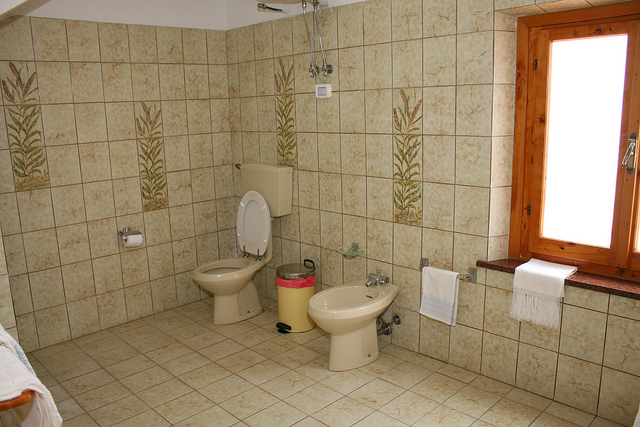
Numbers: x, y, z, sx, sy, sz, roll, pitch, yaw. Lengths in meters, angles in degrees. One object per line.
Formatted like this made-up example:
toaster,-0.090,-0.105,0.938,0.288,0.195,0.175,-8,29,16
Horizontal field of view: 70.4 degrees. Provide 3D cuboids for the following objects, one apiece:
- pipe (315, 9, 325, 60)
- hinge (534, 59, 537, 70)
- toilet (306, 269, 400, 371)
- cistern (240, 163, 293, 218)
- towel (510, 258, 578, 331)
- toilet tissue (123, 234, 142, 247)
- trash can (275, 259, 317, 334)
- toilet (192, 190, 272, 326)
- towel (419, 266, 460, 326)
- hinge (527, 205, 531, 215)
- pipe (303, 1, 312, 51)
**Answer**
pipe,-0.005,-1.515,3.856,0.066,0.396,0.127,2,17,13
hinge,1.517,-1.051,3.213,0.018,0.064,0.014,2,17,12
toilet,0.259,0.898,3.710,0.786,0.644,0.519,-8,12,-35
cistern,-0.510,-0.238,4.425,0.473,0.487,0.249,12,21,39
towel,1.591,0.586,3.263,0.368,0.417,0.274,9,19,33
toilet tissue,-1.718,0.255,4.190,0.108,0.132,0.149,12,16,39
trash can,-0.234,0.786,4.283,0.448,0.581,0.396,-9,10,-21
toilet,-0.815,0.416,4.353,0.802,1.203,0.432,-10,18,-25
towel,0.942,0.643,3.570,0.422,0.535,0.097,10,13,43
hinge,1.536,-0.024,3.358,0.023,0.070,0.013,5,18,24
pipe,-0.112,-1.598,3.863,0.040,0.337,0.053,19,33,38
